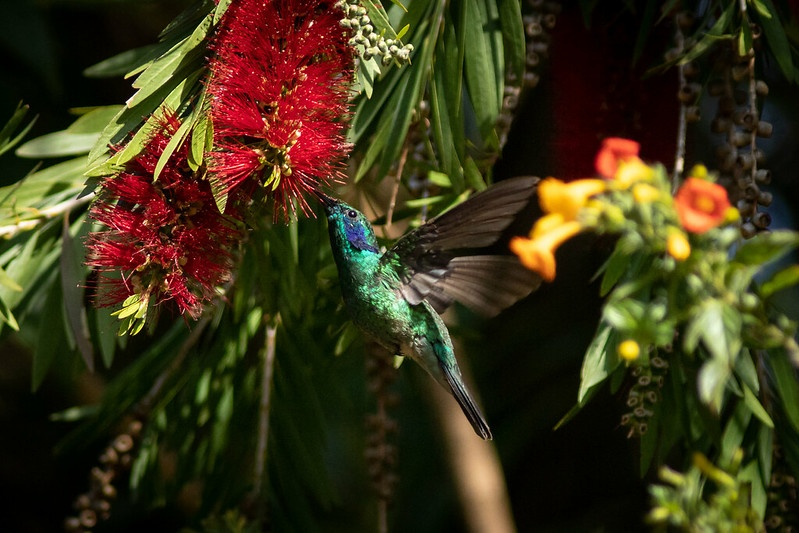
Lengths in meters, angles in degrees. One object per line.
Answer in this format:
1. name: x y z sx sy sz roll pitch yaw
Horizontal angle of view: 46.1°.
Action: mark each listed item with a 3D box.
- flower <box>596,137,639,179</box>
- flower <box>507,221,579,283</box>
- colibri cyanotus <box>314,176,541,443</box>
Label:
1. flower: 0.347 -0.170 1.491 0.064 0.057 0.081 14 21 32
2. flower: 0.232 -0.036 1.510 0.081 0.126 0.049 36 -11 19
3. colibri cyanotus: 0.048 0.033 1.872 0.460 0.449 0.471 20 -5 -15
